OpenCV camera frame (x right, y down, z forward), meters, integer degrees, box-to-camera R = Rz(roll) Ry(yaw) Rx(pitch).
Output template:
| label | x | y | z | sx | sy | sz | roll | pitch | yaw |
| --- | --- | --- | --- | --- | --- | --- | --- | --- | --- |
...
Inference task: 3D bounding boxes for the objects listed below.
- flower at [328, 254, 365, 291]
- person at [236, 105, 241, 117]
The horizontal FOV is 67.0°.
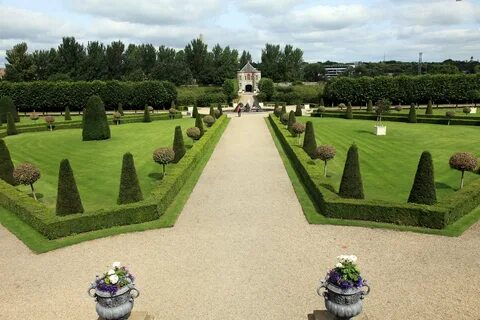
| label | x | y | z | sx | sy | sz | roll | pitch | yaw |
| --- | --- | --- | --- | --- | --- | --- | --- | --- | --- |
| flower | 3.742 | 4.082 | 12.917 | 1.200 | 0.866 | 1.237 | -1 | -1 | -4 |
| person | -0.121 | -7.472 | 55.865 | 0.447 | 1.559 | 1.241 | 0 | 17 | 8 |
